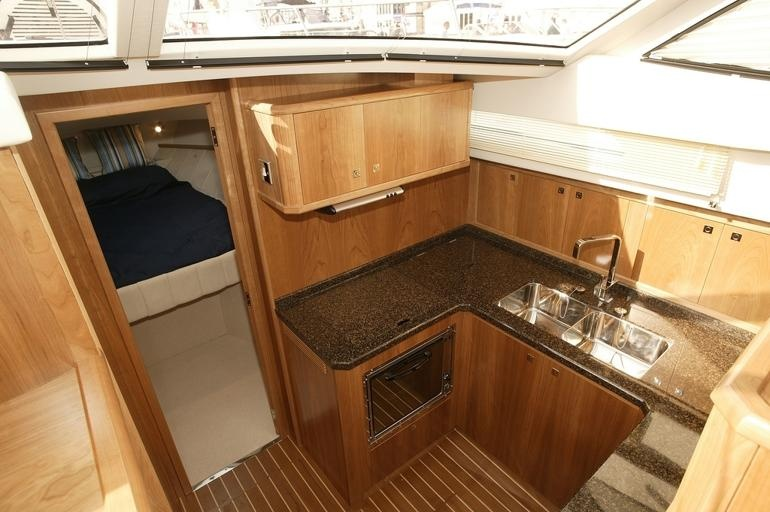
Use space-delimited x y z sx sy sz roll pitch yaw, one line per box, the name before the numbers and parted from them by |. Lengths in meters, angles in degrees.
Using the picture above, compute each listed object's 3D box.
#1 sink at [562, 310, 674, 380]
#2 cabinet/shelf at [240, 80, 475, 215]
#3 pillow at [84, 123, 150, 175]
sink | 1.375 0.496 2.862 0.405 0.248 0.398 -18 31 -27
cabinet/shelf | -0.066 -0.729 2.945 1.409 0.555 0.432 -21 32 -33
pillow | -2.837 -1.147 5.116 0.497 0.507 0.123 -21 25 -29
